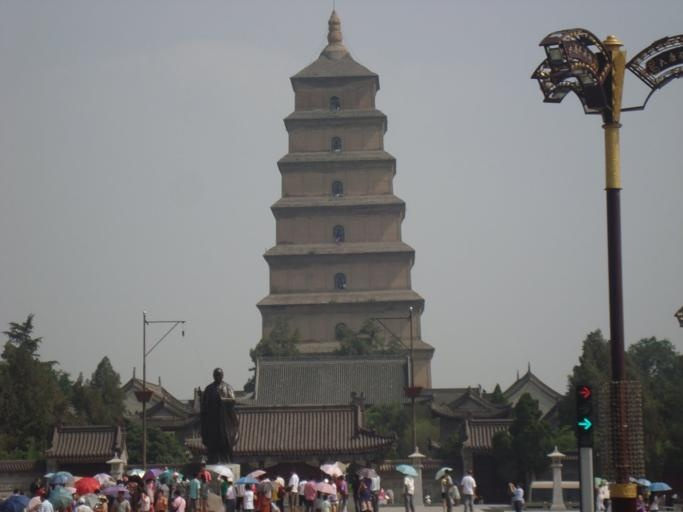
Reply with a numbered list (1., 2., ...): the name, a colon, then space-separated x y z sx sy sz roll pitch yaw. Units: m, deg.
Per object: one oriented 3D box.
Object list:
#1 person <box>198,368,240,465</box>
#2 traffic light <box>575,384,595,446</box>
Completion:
1. person: -3.822 4.957 66.224 1.102 2.740 1.509 0 -14 -3
2. traffic light: 6.742 4.431 59.636 0.405 1.703 0.604 -2 -14 3
